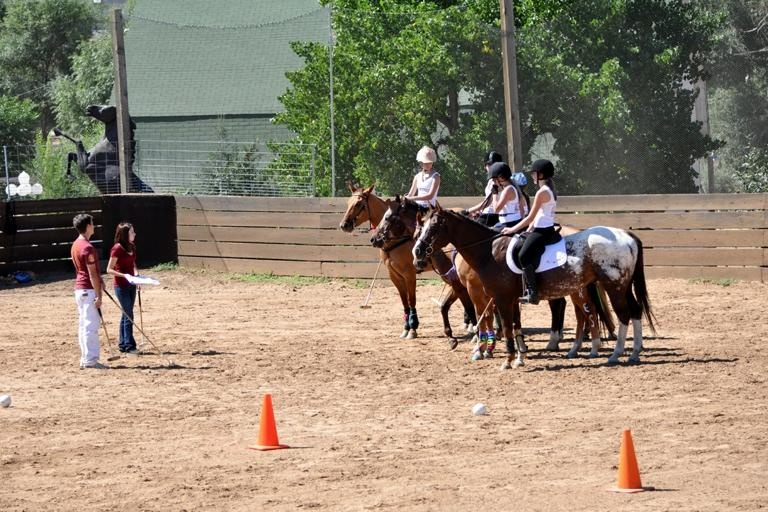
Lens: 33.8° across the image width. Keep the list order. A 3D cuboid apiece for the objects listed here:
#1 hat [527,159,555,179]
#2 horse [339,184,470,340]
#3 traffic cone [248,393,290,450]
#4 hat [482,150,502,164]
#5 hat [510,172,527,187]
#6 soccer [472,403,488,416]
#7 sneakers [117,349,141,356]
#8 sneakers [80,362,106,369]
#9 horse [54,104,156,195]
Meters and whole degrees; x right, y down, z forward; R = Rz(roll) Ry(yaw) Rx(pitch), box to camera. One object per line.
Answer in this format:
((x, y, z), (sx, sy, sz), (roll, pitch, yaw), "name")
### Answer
((3.925, -2.214, 31.915), (0.556, 0.451, 0.420), (12, 0, 15), "hat")
((1.251, 0.193, 35.527), (5.189, 3.997, 1.324), (1, -3, -36), "horse")
((-2.656, 3.791, 29.070), (0.766, 1.060, 0.468), (-2, 1, -7), "traffic cone")
((2.856, -2.629, 33.553), (0.384, 0.452, 0.514), (2, 22, 15), "hat")
((3.501, -2.030, 33.009), (0.367, 0.403, 0.523), (-7, 3, -1), "hat")
((2.260, 3.635, 30.000), (0.253, 0.159, 0.284), (-6, 17, 36), "soccer")
((-6.714, 2.529, 33.438), (0.525, 0.229, 0.183), (-4, 1, 9), "sneakers")
((-7.434, 2.821, 32.583), (0.649, 0.266, 0.234), (-1, 0, 2), "sneakers")
((-10.377, -3.783, 48.291), (3.958, 4.075, 1.403), (1, -5, -6), "horse")
